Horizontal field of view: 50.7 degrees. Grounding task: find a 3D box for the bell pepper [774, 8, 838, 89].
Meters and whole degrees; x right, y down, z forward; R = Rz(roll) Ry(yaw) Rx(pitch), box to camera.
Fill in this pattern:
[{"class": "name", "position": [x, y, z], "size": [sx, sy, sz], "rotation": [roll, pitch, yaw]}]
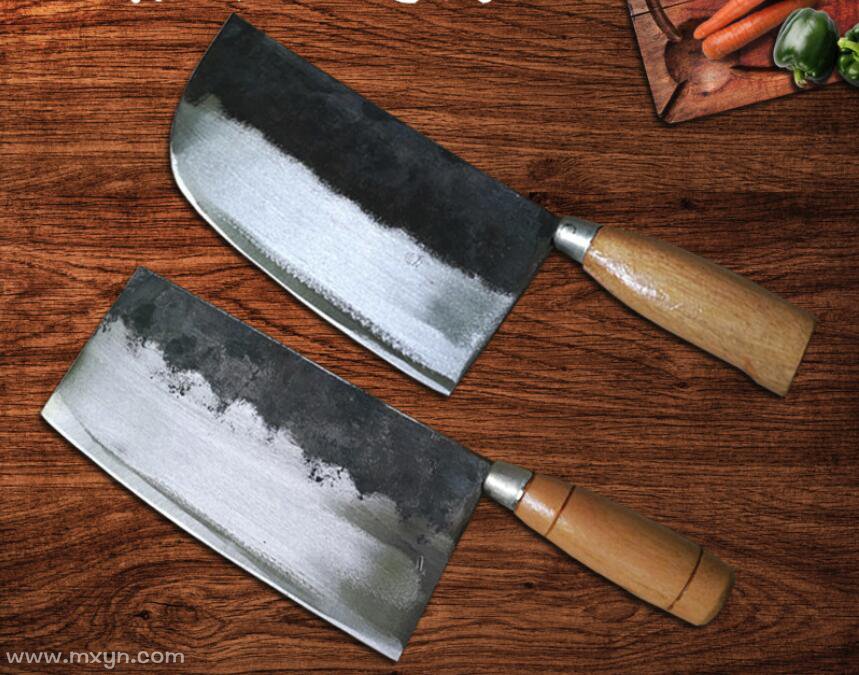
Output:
[{"class": "bell pepper", "position": [0.593, -0.461, 1.423], "size": [0.088, 0.085, 0.104], "rotation": [25, 78, 42]}]
